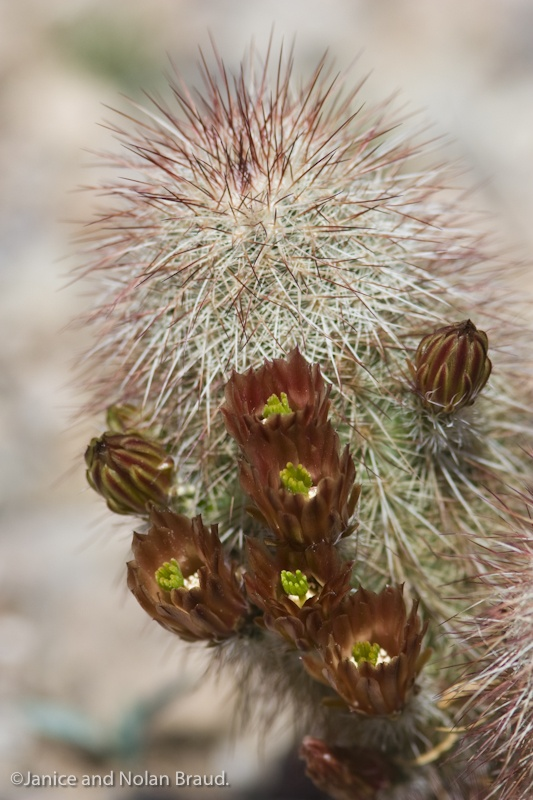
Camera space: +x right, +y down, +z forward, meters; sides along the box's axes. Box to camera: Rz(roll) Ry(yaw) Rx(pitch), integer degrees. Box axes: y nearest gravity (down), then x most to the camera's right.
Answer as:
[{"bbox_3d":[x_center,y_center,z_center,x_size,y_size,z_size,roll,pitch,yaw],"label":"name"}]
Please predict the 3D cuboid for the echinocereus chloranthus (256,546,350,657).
[{"bbox_3d":[0.027,0.136,0.587,0.084,0.077,0.082,-8,21,1],"label":"echinocereus chloranthus"}]

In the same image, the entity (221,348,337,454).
[{"bbox_3d":[0.015,0.004,0.630,0.082,0.081,0.078,-1,49,49],"label":"entity"}]

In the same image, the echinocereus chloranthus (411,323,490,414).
[{"bbox_3d":[0.160,-0.031,0.647,0.054,0.068,0.050,11,-23,-22],"label":"echinocereus chloranthus"}]

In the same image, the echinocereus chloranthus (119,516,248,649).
[{"bbox_3d":[-0.065,0.151,0.591,0.080,0.120,0.074,2,26,16],"label":"echinocereus chloranthus"}]

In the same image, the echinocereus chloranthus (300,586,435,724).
[{"bbox_3d":[0.064,0.194,0.585,0.097,0.088,0.101,-12,-13,35],"label":"echinocereus chloranthus"}]
